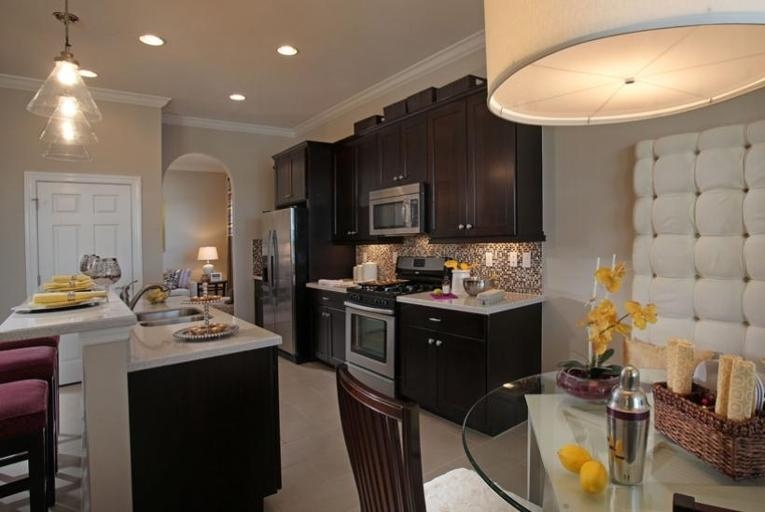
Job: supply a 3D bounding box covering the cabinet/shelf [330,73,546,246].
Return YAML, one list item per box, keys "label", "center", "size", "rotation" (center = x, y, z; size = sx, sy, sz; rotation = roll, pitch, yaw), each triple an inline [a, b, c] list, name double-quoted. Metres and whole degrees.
- label: "cabinet/shelf"
  center: [0.359, -0.822, 5.117]
  size: [0.522, 1.384, 2.526]
  rotation: [-1, 1, -37]

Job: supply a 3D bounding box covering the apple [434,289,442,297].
- label: "apple"
  center: [0.471, 0.306, 4.516]
  size: [0.048, 0.032, 0.058]
  rotation: [0, 8, 23]

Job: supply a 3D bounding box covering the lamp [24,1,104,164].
- label: "lamp"
  center: [-2.292, -1.301, 3.873]
  size: [0.377, 1.311, 1.855]
  rotation: [0, 1, -28]

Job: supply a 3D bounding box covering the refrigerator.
- label: "refrigerator"
  center: [-1.117, 0.299, 6.139]
  size: [0.329, 1.746, 0.723]
  rotation: [0, 1, -31]

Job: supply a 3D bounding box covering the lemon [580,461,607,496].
- label: "lemon"
  center: [0.866, 0.902, 2.187]
  size: [0.095, 0.100, 0.132]
  rotation: [-33, -12, 32]

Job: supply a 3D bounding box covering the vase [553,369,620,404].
- label: "vase"
  center: [1.003, 0.629, 2.595]
  size: [0.192, 0.086, 0.190]
  rotation: [0, 1, -27]

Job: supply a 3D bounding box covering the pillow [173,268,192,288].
- label: "pillow"
  center: [-3.425, 0.380, 9.135]
  size: [0.303, 0.311, 0.130]
  rotation: [-1, -12, 33]

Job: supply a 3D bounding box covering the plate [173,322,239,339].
- label: "plate"
  center: [-1.092, 0.461, 3.284]
  size: [0.377, 0.096, 0.292]
  rotation: [0, 1, -20]

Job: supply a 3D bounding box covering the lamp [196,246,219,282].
- label: "lamp"
  center: [-3.273, 0.118, 9.892]
  size: [0.384, 0.602, 1.083]
  rotation: [0, 1, -17]

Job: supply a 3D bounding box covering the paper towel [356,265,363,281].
- label: "paper towel"
  center: [-0.247, 0.180, 5.702]
  size: [0.088, 0.162, 0.172]
  rotation: [1, -3, -8]

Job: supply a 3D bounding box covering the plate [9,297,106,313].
- label: "plate"
  center: [-1.778, 0.268, 2.930]
  size: [0.430, 0.066, 0.255]
  rotation: [0, 1, -28]

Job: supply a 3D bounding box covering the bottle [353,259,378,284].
- label: "bottle"
  center: [-0.191, 0.170, 5.670]
  size: [0.223, 0.219, 0.228]
  rotation: [3, -5, -27]

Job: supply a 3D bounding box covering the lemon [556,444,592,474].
- label: "lemon"
  center: [0.835, 0.866, 2.271]
  size: [0.153, 0.115, 0.121]
  rotation: [-1, 1, -38]

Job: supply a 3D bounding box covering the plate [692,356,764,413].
- label: "plate"
  center: [1.523, 0.540, 2.334]
  size: [0.210, 0.088, 0.245]
  rotation: [2, 18, 19]

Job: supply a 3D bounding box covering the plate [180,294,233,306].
- label: "plate"
  center: [-1.648, 0.410, 4.940]
  size: [0.538, 0.057, 0.549]
  rotation: [1, -1, 38]

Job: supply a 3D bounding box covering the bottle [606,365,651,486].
- label: "bottle"
  center: [1.037, 0.705, 2.227]
  size: [0.188, 0.490, 0.124]
  rotation: [0, 1, 5]

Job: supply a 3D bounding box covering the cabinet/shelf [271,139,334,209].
- label: "cabinet/shelf"
  center: [-0.913, -0.941, 6.152]
  size: [0.398, 0.902, 1.034]
  rotation: [2, -3, -30]

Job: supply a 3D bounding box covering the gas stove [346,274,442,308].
- label: "gas stove"
  center: [0.053, 0.413, 5.065]
  size: [0.670, 0.208, 0.640]
  rotation: [6, -1, 29]

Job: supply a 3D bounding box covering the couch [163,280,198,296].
- label: "couch"
  center: [-2.983, 0.468, 7.808]
  size: [0.419, 0.348, 0.435]
  rotation: [4, -3, -29]

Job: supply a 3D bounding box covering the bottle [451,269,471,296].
- label: "bottle"
  center: [0.654, 0.220, 4.523]
  size: [0.194, 0.210, 0.196]
  rotation: [2, 2, 43]

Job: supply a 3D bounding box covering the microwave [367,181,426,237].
- label: "microwave"
  center: [0.138, -0.450, 4.983]
  size: [0.406, 0.498, 0.771]
  rotation: [2, -4, -29]
